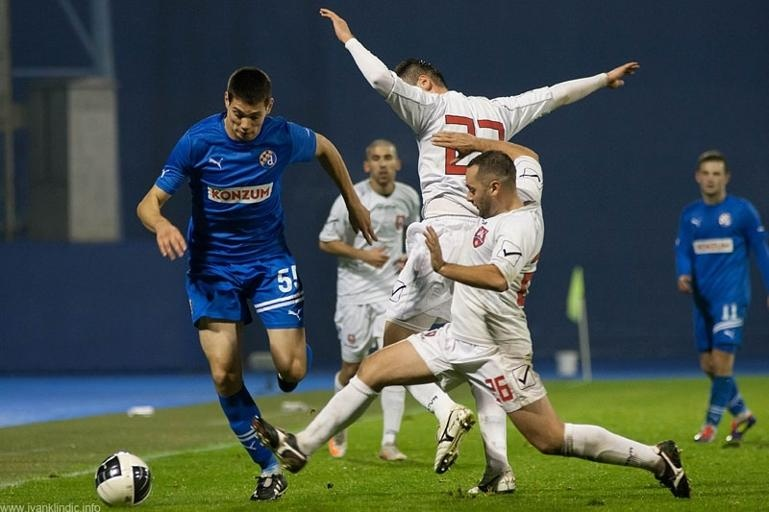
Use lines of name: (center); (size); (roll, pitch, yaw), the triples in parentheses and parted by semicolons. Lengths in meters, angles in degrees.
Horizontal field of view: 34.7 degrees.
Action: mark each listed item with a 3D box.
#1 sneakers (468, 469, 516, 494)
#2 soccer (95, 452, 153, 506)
sneakers: (1.175, 2.564, 13.988); (0.648, 0.259, 0.218); (-2, -7, 7)
soccer: (-2.901, 2.447, 13.719); (0.600, 0.567, 0.558); (0, -3, 0)
